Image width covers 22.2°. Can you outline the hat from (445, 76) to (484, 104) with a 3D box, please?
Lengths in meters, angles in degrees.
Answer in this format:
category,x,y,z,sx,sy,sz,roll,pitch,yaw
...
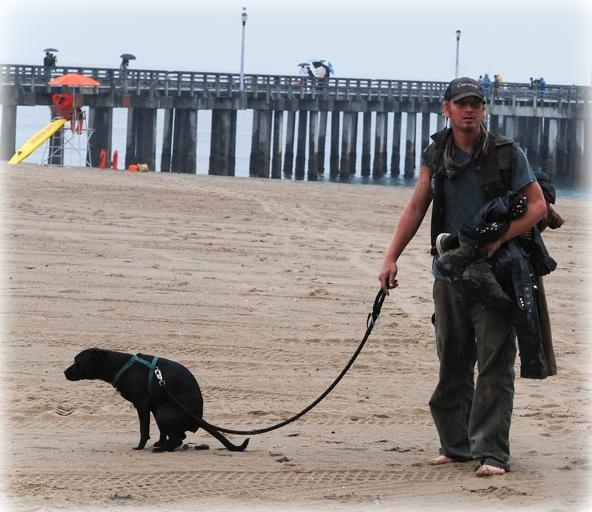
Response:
category,x,y,z,sx,sy,sz,roll,pitch,yaw
hat,1.249,-1.220,11.208,0.326,0.183,0.240,4,5,16

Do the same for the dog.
category,x,y,z,sx,sy,sz,roll,pitch,yaw
dog,-1.054,1.133,11.700,1.457,0.814,0.431,2,4,12

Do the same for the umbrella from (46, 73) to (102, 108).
category,x,y,z,sx,sy,sz,roll,pitch,yaw
umbrella,-4.894,-3.726,33.939,1.120,0.764,3.109,2,5,-8

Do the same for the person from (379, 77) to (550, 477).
category,x,y,z,sx,sy,sz,roll,pitch,yaw
person,1.271,0.141,11.278,1.070,2.902,0.449,6,5,32
